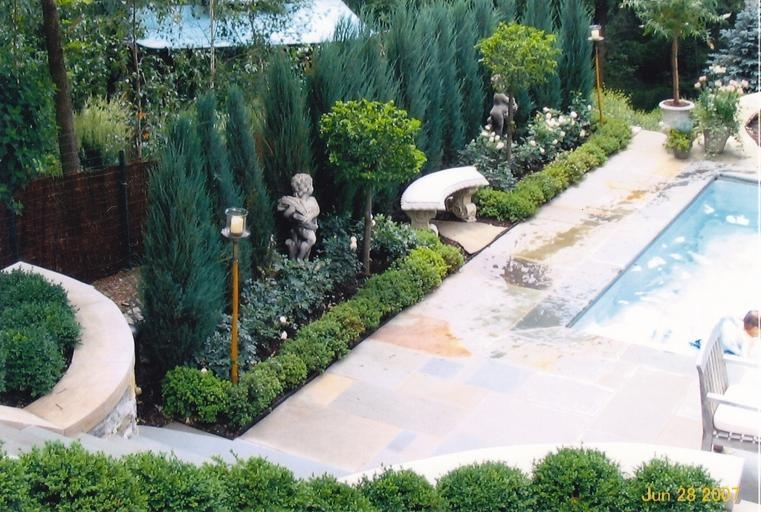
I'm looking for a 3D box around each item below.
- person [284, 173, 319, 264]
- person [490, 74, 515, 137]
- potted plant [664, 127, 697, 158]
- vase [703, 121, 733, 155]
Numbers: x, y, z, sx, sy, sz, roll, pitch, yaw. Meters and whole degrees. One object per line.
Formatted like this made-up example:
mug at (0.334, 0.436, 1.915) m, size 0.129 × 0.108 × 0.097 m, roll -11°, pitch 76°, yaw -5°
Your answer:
person at (-1.286, -0.609, 11.121) m, size 0.609 × 1.349 × 0.395 m, roll -7°, pitch 18°, yaw -15°
person at (2.789, -3.452, 16.068) m, size 0.526 × 1.375 × 0.395 m, roll -2°, pitch 11°, yaw -19°
potted plant at (7.122, -2.733, 16.953) m, size 0.632 × 0.760 × 0.675 m, roll -4°, pitch 15°, yaw -5°
vase at (8.112, -2.820, 16.899) m, size 0.587 × 0.632 × 0.649 m, roll 0°, pitch 10°, yaw 5°
